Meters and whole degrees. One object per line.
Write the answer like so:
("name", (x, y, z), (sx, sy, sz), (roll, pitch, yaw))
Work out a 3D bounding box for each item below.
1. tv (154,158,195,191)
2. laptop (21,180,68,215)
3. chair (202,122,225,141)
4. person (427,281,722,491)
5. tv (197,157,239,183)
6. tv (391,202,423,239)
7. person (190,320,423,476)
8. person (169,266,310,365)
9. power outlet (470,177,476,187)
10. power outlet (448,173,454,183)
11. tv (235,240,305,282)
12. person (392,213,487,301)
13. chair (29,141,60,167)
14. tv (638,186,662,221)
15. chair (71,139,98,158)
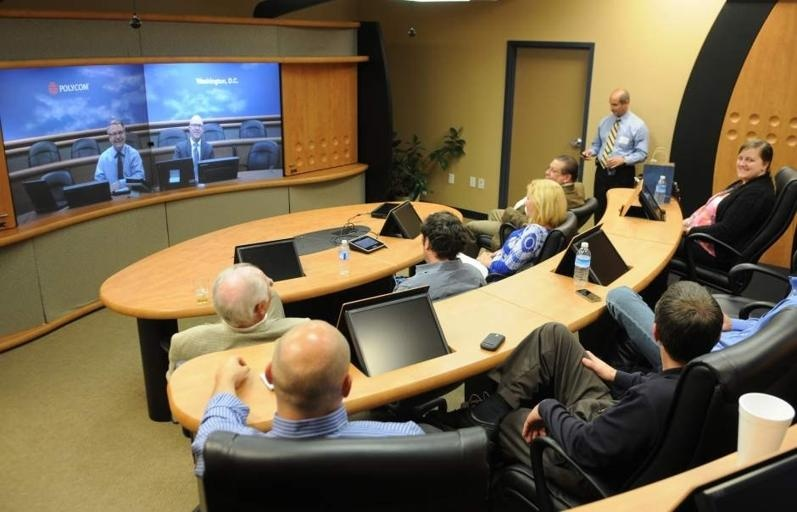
("tv", (-2.481, -0.899, 6.002), (0.327, 0.243, 0.044), (-26, 20, -38))
("laptop", (-3.172, -0.533, 4.924), (0.169, 0.241, 0.270), (-13, 16, -40))
("chair", (-2.120, -1.420, 6.237), (0.167, 0.230, 0.194), (-12, 26, -34))
("person", (0.872, 0.661, 2.748), (0.440, 0.912, 0.731), (-24, 51, -35))
("tv", (-2.087, -0.995, 6.349), (0.433, 0.307, 0.305), (-9, 37, -31))
("tv", (0.064, -0.312, 4.945), (0.165, 0.251, 0.340), (-14, 11, 25))
("person", (-0.467, 0.504, 2.425), (0.983, 0.687, 0.692), (1, 39, -8))
("person", (-0.886, 0.341, 3.204), (0.529, 0.686, 1.126), (-1, -17, -4))
("power outlet", (1.086, -1.095, 7.978), (0.020, 0.194, 0.110), (-11, 18, -44))
("power outlet", (0.791, -1.179, 8.208), (0.127, 0.180, 0.015), (8, 16, 35))
("tv", (-0.906, 0.039, 3.863), (0.261, 0.196, 0.122), (-13, -7, -33))
("person", (0.266, 0.025, 4.040), (0.600, 0.832, 0.842), (-3, 19, -7))
("chair", (-3.214, -0.936, 4.939), (0.208, 0.266, 0.184), (8, 13, 42))
("tv", (2.271, -0.472, 4.951), (0.137, 0.243, 0.255), (-31, 9, 23))
("chair", (-3.028, -1.037, 5.272), (0.169, 0.222, 0.185), (-6, 13, -42))
